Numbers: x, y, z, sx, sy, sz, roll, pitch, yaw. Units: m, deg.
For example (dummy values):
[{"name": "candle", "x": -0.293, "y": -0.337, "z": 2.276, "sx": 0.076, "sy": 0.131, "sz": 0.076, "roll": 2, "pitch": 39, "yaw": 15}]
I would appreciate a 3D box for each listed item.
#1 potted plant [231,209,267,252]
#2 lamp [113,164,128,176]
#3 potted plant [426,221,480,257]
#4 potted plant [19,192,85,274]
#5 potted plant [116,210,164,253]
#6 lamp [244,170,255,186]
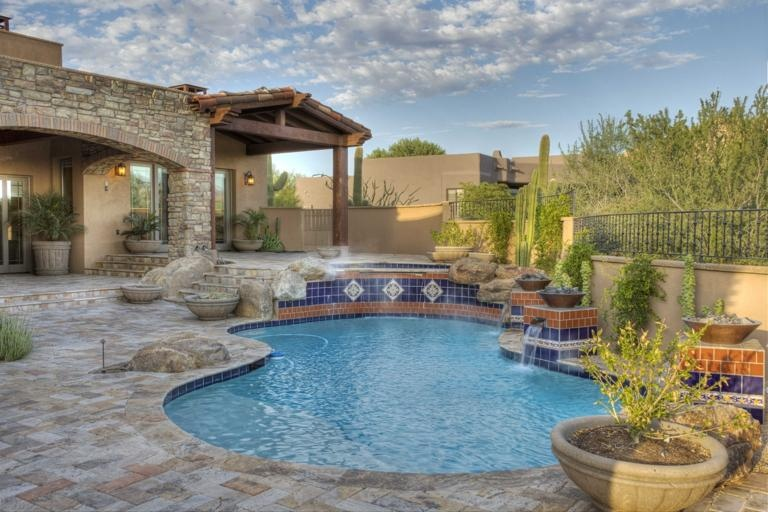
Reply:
[{"name": "potted plant", "x": -5.134, "y": -0.958, "z": 18.680, "sx": 1.691, "sy": 1.349, "sz": 1.206, "roll": 0, "pitch": 2, "yaw": 8}, {"name": "lamp", "x": -8.424, "y": -2.756, "z": 15.768, "sx": 0.366, "sy": 0.396, "sz": 0.431, "roll": 2, "pitch": 5, "yaw": -23}, {"name": "potted plant", "x": 2.426, "y": -0.422, "z": 16.572, "sx": 1.535, "sy": 0.946, "sz": 1.552, "roll": 5, "pitch": -5, "yaw": -32}, {"name": "potted plant", "x": -10.166, "y": -0.682, "z": 15.189, "sx": 1.632, "sy": 2.509, "sz": 1.167, "roll": 2, "pitch": 5, "yaw": -17}, {"name": "potted plant", "x": -8.040, "y": -0.772, "z": 16.513, "sx": 1.520, "sy": 1.262, "sz": 1.428, "roll": 1, "pitch": -4, "yaw": -28}, {"name": "lamp", "x": -5.144, "y": -2.995, "z": 18.895, "sx": 0.371, "sy": 0.570, "sz": 0.455, "roll": 3, "pitch": 4, "yaw": -13}]
